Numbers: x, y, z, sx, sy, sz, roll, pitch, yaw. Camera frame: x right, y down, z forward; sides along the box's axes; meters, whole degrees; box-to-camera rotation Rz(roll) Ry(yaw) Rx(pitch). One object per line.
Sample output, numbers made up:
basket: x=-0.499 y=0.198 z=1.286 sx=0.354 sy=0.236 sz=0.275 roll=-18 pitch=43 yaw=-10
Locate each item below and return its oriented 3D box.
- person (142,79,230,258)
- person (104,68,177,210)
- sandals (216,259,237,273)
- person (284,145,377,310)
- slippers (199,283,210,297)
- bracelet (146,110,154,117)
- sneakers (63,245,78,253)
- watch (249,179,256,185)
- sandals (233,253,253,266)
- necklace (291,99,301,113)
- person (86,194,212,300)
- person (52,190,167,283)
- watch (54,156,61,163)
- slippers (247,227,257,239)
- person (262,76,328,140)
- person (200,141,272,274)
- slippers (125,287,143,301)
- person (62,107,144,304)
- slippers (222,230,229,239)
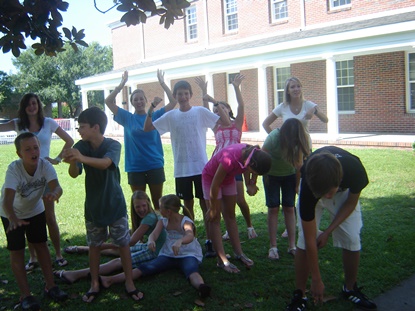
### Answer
person: x=-0.242 y=0.177 z=4.779 sx=1.089 sy=2.604 sz=0.758 roll=-2 pitch=19 yaw=5
person: x=-1.066 y=-0.087 z=5.347 sx=0.961 sy=2.688 sz=0.395 roll=0 pitch=21 yaw=-4
sandals: x=0.249 y=1.415 z=4.240 sx=0.261 sy=0.130 sz=0.108 roll=4 pitch=19 yaw=41
person: x=1.208 y=0.779 z=3.286 sx=0.846 sy=1.697 sz=0.542 roll=-8 pitch=11 yaw=-25
slippers: x=-0.033 y=1.535 z=3.731 sx=0.127 sy=0.136 sz=0.114 roll=2 pitch=3 yaw=2
bracelet: x=-0.856 y=-0.613 z=4.907 sx=0.102 sy=0.117 sz=0.104 roll=8 pitch=1 yaw=-37
sneakers: x=-2.017 y=1.389 z=4.830 sx=0.161 sy=0.122 sz=0.070 roll=2 pitch=5 yaw=12
watch: x=0.611 y=0.368 z=4.472 sx=0.069 sy=0.085 sz=0.068 roll=-1 pitch=-5 yaw=41
sandals: x=0.473 y=1.408 z=4.390 sx=0.111 sy=0.122 sz=0.266 roll=-29 pitch=34 yaw=-35
necklace: x=1.492 y=-0.820 z=5.520 sx=0.142 sy=0.242 sz=0.057 roll=-3 pitch=-6 yaw=6
person: x=-0.401 y=1.140 z=4.189 sx=1.096 sy=0.895 sz=1.086 roll=5 pitch=1 yaw=26
person: x=-1.225 y=1.083 z=4.501 sx=1.478 sy=1.008 sz=0.596 roll=-6 pitch=-2 yaw=-17
watch: x=-1.995 y=0.058 z=4.354 sx=0.054 sy=0.087 sz=0.101 roll=-48 pitch=30 yaw=-17
slippers: x=0.679 y=1.212 z=5.106 sx=0.105 sy=0.175 sz=0.054 roll=-7 pitch=-27 yaw=0
person: x=1.427 y=-0.514 z=5.490 sx=0.994 sy=1.598 sz=0.662 roll=-2 pitch=-1 yaw=27
person: x=0.358 y=0.676 z=4.208 sx=0.690 sy=1.669 sz=0.953 roll=-12 pitch=14 yaw=-43
slippers: x=-0.812 y=1.599 z=3.720 sx=0.084 sy=0.062 sz=0.200 roll=-9 pitch=9 yaw=-37
person: x=-1.221 y=0.556 z=3.705 sx=0.608 sy=2.177 sz=0.703 roll=-7 pitch=11 yaw=-22
slippers: x=0.302 y=1.263 z=5.142 sx=0.080 sy=0.181 sz=0.250 roll=-6 pitch=-15 yaw=22
